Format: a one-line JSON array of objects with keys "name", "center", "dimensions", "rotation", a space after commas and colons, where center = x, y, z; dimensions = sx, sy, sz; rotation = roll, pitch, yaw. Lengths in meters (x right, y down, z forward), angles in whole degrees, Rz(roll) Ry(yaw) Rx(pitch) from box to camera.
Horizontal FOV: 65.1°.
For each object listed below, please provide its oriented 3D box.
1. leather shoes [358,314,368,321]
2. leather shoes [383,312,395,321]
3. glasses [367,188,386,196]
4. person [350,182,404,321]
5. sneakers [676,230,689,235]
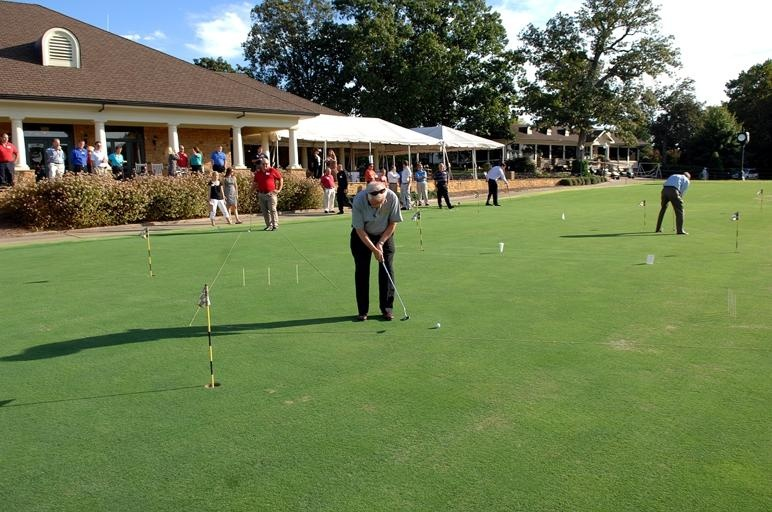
[{"name": "leather shoes", "center": [-0.346, 0.885, 8.698], "dimensions": [0.092, 0.096, 0.232], "rotation": [0, -5, 5]}, {"name": "leather shoes", "center": [0.028, 0.863, 8.692], "dimensions": [0.112, 0.120, 0.280], "rotation": [0, -5, -5]}, {"name": "glasses", "center": [-0.125, -0.869, 8.243], "dimensions": [0.225, 0.080, 0.142], "rotation": [-2, 7, -11]}, {"name": "person", "center": [-0.149, -0.079, 8.686], "dimensions": [0.691, 1.982, 0.845], "rotation": [-1, 7, 0]}, {"name": "sneakers", "center": [8.215, -0.653, 16.918], "dimensions": [0.219, 0.072, 0.151], "rotation": [-1, -8, 14]}]
